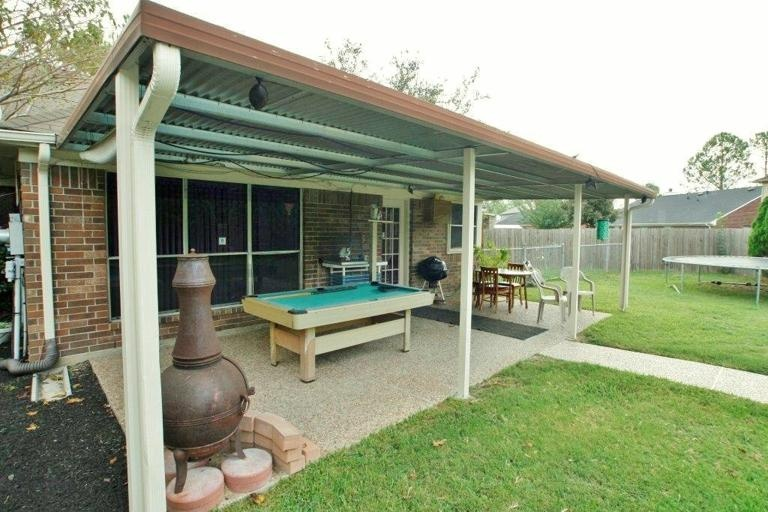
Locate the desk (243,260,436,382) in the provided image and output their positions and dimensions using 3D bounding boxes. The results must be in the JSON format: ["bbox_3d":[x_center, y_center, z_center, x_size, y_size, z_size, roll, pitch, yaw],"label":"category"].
[{"bbox_3d":[-0.893,1.363,9.913,2.826,1.385,1.536,-2,3,-36],"label":"desk"}]
